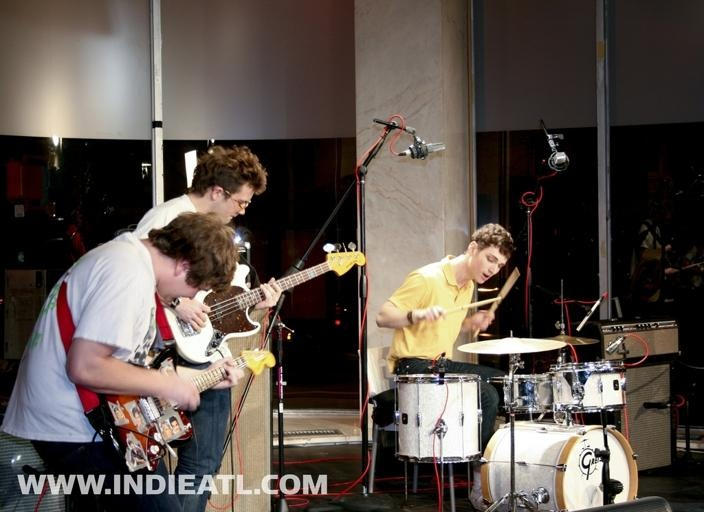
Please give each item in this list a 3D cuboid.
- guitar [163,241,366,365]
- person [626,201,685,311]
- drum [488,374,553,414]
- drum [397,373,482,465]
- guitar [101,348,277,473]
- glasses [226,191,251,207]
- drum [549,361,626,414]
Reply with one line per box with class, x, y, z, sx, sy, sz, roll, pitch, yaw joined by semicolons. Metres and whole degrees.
guitar;-0.554;0.239;4.856;1.330;0.562;0.199;-22;22;10
person;2.622;0.013;6.635;0.411;0.966;0.102;-3;-6;28
drum;1.159;0.908;5.084;0.273;0.213;0.243;-1;-3;-8
drum;0.555;1.002;4.890;0.481;0.568;0.540;0;-7;0
guitar;-0.829;0.702;4.059;0.120;0.554;1.158;-17;3;38
glasses;-0.748;-0.366;4.861;0.034;0.117;0.105;-38;-29;27
drum;1.597;0.882;5.135;0.573;0.337;0.169;3;-6;-21
